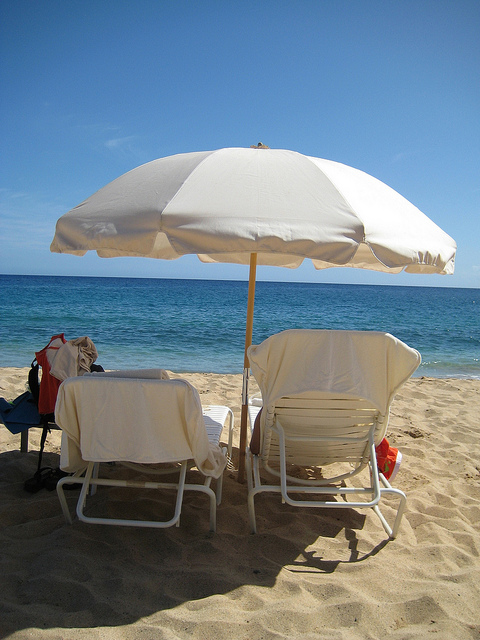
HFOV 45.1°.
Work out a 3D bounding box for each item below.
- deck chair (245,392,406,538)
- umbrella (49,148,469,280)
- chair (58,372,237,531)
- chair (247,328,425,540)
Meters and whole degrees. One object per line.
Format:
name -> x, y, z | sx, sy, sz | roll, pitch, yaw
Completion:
deck chair -> 0.608, 0.868, 3.821 | 1.007, 0.979, 1.029 | 4, 7, -9
umbrella -> 0.100, -0.691, 3.216 | 2.241, 0.864, 0.855 | 2, -6, -2
chair -> -0.561, 0.769, 3.721 | 0.789, 0.745, 1.219 | 3, 1, 4
chair -> 0.472, 0.683, 4.090 | 1.034, 1.209, 1.910 | 2, -1, -3
